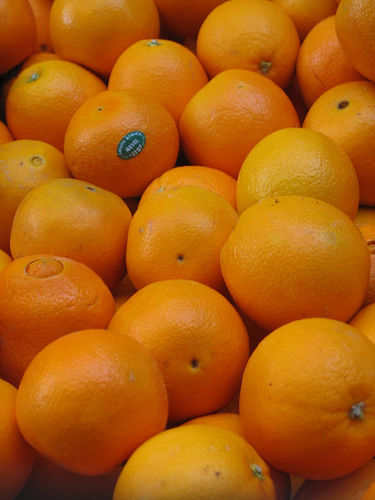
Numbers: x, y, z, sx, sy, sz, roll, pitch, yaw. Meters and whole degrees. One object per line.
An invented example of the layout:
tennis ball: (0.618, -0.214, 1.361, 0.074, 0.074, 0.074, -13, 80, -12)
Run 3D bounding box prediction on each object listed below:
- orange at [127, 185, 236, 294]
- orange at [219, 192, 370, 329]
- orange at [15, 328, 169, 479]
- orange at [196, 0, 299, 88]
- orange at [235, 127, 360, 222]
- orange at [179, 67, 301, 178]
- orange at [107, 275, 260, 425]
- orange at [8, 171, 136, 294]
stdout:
orange: (-0.021, -0.020, 0.887, 0.184, 0.196, 0.196, 6, 84, -20)
orange: (0.172, 0.006, 0.793, 0.199, 0.226, 0.190, 16, 65, 28)
orange: (-0.118, 0.178, 0.596, 0.177, 0.121, 0.153, -24, 50, -8)
orange: (0.140, -0.468, 1.252, 0.214, 0.259, 0.222, 15, 11, 6)
orange: (0.162, -0.140, 0.878, 0.178, 0.210, 0.173, 0, 27, -4)
orange: (0.129, -0.241, 1.080, 0.191, 0.199, 0.188, 1, 84, -23)
orange: (-0.011, 0.160, 0.768, 0.224, 0.246, 0.230, -4, 85, 3)
orange: (-0.200, -0.031, 0.905, 0.224, 0.215, 0.221, 4, 93, -15)
